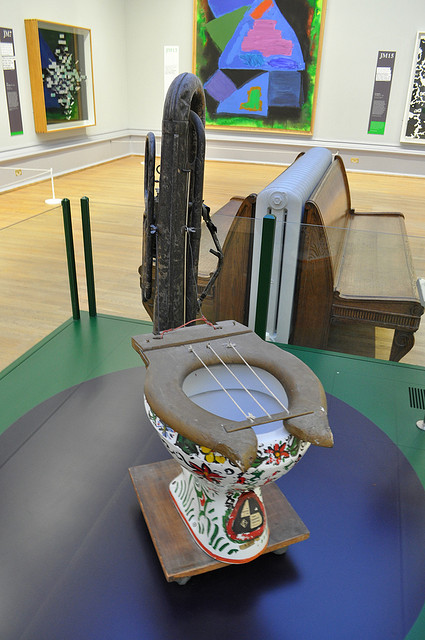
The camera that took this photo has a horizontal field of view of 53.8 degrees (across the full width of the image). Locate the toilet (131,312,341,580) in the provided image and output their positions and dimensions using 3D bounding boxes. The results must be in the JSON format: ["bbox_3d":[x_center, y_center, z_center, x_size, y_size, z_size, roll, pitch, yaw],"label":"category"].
[{"bbox_3d":[0.016,0.281,0.946,0.335,0.397,0.482,-7,24,-23],"label":"toilet"}]
